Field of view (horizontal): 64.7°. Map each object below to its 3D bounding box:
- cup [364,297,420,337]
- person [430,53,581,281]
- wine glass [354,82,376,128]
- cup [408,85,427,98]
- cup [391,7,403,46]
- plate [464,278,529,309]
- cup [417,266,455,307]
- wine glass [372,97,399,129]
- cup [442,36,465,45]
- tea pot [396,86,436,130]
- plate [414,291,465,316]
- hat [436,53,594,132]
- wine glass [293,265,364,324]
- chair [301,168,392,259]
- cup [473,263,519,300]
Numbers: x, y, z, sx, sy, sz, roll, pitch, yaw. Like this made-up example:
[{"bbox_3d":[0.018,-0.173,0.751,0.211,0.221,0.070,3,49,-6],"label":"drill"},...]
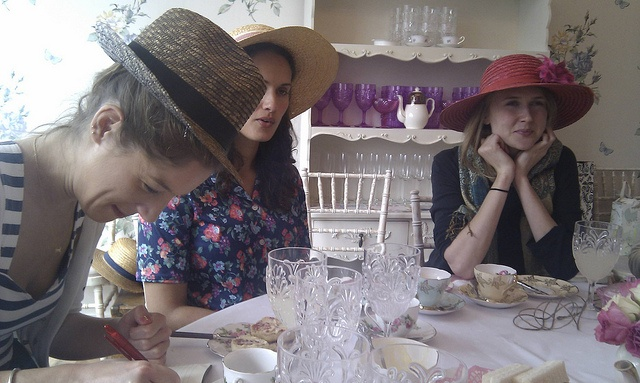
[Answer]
[{"bbox_3d":[0.247,0.450,1.746,0.181,0.105,0.135,4,-11,1],"label":"cup"},{"bbox_3d":[1.005,-0.113,2.712,0.805,1.101,0.749,3,5,24],"label":"person"},{"bbox_3d":[0.313,-0.582,3.429,0.128,0.280,0.162,4,4,22],"label":"wine glass"},{"bbox_3d":[0.651,-0.652,3.344,0.091,0.088,0.094,1,5,0],"label":"cup"},{"bbox_3d":[0.518,-1.106,3.379,0.079,0.221,0.040,3,4,7],"label":"cup"},{"bbox_3d":[0.655,0.401,1.917,0.249,0.047,0.254,5,12,28],"label":"plate"},{"bbox_3d":[0.406,0.349,1.873,0.140,0.108,0.127,2,2,0],"label":"cup"},{"bbox_3d":[0.465,-0.526,3.452,0.196,0.206,0.201,-1,3,23],"label":"wine glass"},{"bbox_3d":[0.899,-0.995,3.360,0.111,0.046,0.076,2,-3,-20],"label":"cup"},{"bbox_3d":[0.646,-0.554,3.388,0.271,0.264,0.185,0,5,-10],"label":"tea pot"},{"bbox_3d":[0.448,0.428,1.914,0.158,0.028,0.153,9,-5,-38],"label":"plate"},{"bbox_3d":[1.037,-0.526,2.709,0.736,0.265,0.738,-2,-10,22],"label":"hat"},{"bbox_3d":[0.031,0.311,1.558,0.189,0.191,0.187,1,1,4],"label":"wine glass"},{"bbox_3d":[0.160,0.140,3.170,0.542,0.865,0.551,0,-5,-2],"label":"chair"},{"bbox_3d":[0.680,0.359,1.937,0.159,0.113,0.200,-1,7,-27],"label":"cup"}]
